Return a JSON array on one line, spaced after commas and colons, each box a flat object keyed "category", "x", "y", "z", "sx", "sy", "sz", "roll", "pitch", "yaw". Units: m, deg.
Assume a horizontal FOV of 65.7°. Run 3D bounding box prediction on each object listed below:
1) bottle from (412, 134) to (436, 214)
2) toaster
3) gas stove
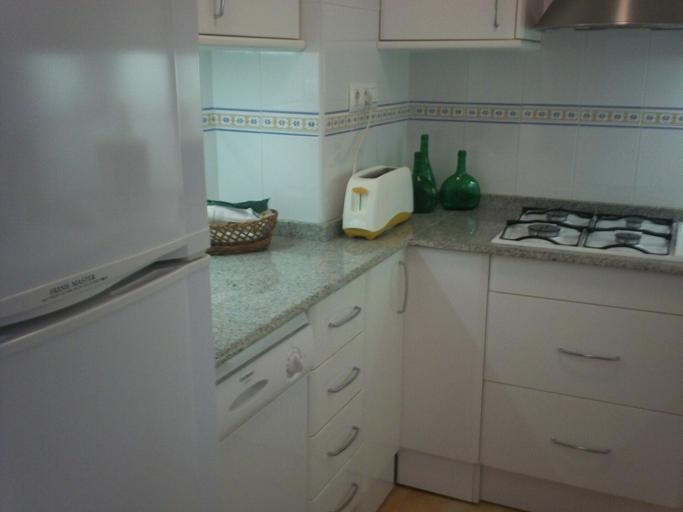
[{"category": "bottle", "x": 0.387, "y": -0.380, "z": 2.451, "sx": 0.116, "sy": 0.344, "sz": 0.144, "roll": 6, "pitch": 16, "yaw": 19}, {"category": "toaster", "x": 0.145, "y": -0.229, "z": 2.173, "sx": 0.172, "sy": 0.252, "sz": 0.383, "roll": 10, "pitch": 19, "yaw": 29}, {"category": "gas stove", "x": 0.977, "y": -0.107, "z": 2.103, "sx": 0.626, "sy": 0.055, "sz": 0.668, "roll": 11, "pitch": 20, "yaw": 27}]
